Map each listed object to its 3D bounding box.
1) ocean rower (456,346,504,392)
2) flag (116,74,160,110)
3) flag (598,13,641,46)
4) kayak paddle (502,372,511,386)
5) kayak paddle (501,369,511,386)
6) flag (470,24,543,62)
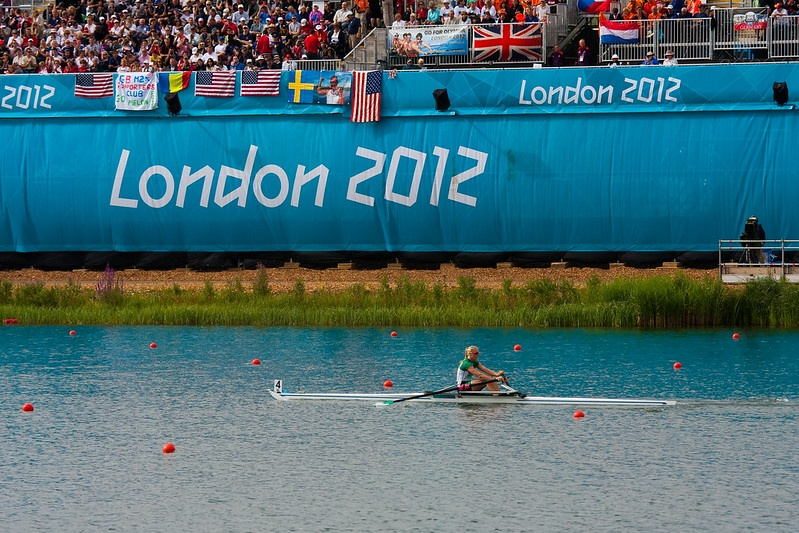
[{"bbox_3d":[1.927,3.039,51.628,0.907,1.613,2.330,-1,-3,-9],"label":"ocean rower"},{"bbox_3d":[-9.440,-6.455,66.348,1.223,1.107,0.145,0,6,5],"label":"flag"},{"bbox_3d":[8.224,-8.919,68.118,1.247,1.031,0.112,3,17,12],"label":"flag"},{"bbox_3d":[3.052,3.242,52.588,0.249,0.392,0.125,0,50,4],"label":"kayak paddle"},{"bbox_3d":[3.016,3.180,52.137,0.110,0.406,0.377,-3,1,-40],"label":"kayak paddle"},{"bbox_3d":[4.001,-8.465,68.348,2.591,1.418,0.350,0,13,5],"label":"flag"}]
